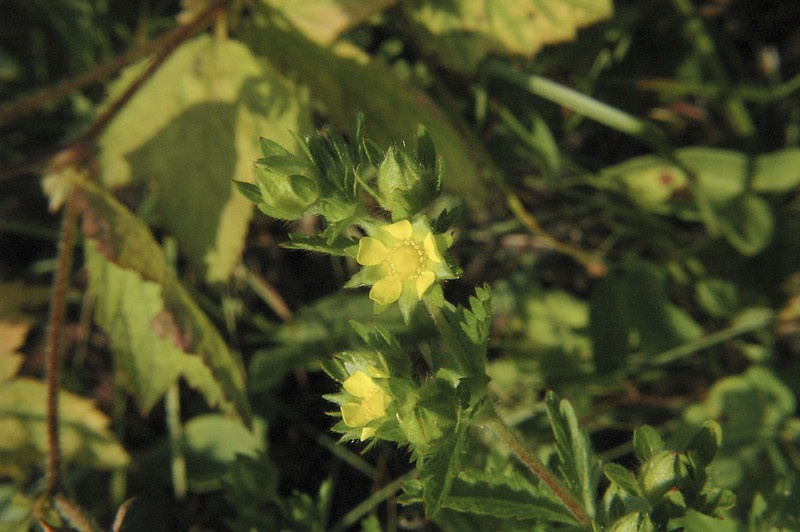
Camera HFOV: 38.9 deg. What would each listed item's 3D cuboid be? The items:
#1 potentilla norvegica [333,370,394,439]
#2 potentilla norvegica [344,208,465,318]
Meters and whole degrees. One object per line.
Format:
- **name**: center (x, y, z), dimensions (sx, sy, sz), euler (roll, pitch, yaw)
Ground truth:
- **potentilla norvegica**: center (-0.037, 0.164, 1.385), dimensions (0.066, 0.036, 0.075), euler (-43, 57, 19)
- **potentilla norvegica**: center (0.006, -0.021, 1.370), dimensions (0.157, 0.060, 0.151), euler (-20, 32, -35)
